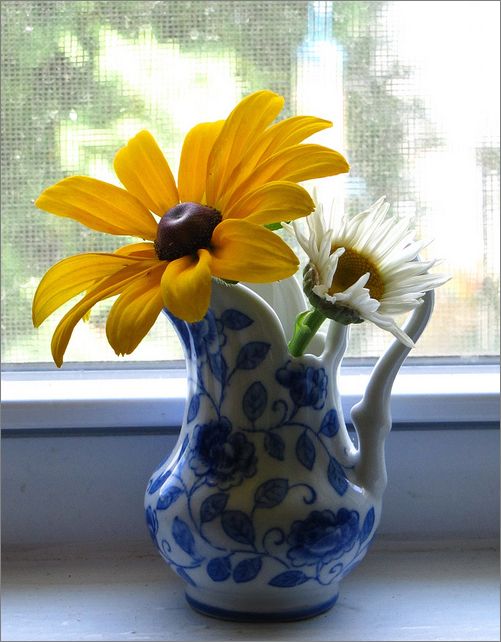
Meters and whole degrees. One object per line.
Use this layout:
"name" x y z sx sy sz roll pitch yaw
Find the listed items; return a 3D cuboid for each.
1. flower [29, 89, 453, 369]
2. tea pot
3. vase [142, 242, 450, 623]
"flower" -0.008 -0.069 0.567 0.252 0.197 0.201 -7 10 -38
"tea pot" 0.002 0.096 0.667 0.275 0.267 0.206 6 -2 -16
"vase" 0.022 0.104 0.669 0.251 0.241 0.192 1 -2 -26
